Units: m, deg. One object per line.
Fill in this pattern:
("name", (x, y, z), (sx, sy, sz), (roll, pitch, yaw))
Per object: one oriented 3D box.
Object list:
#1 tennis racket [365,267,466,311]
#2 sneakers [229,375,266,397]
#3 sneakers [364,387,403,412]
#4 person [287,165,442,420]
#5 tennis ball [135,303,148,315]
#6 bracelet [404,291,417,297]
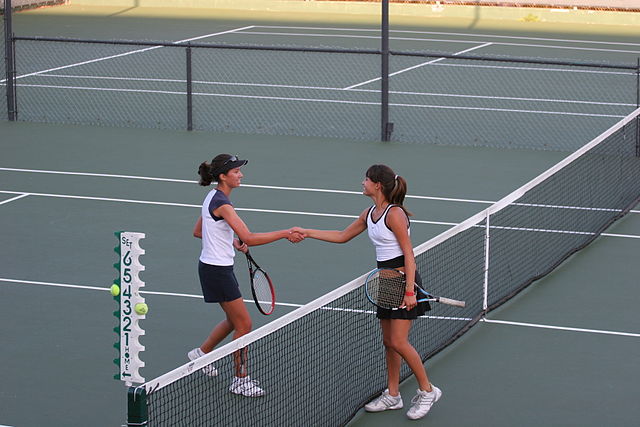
("tennis racket", (1.061, 0.967, 11.072), (0.980, 0.491, 0.288), (2, 20, 7))
("sneakers", (-0.930, 2.262, 11.442), (0.464, 0.246, 0.233), (4, 3, 0))
("sneakers", (0.839, 2.461, 11.456), (0.567, 0.315, 0.216), (2, -4, -3))
("person", (0.872, 0.983, 11.347), (0.878, 3.137, 1.552), (-13, 23, -30))
("tennis ball", (-2.017, 1.084, 9.966), (0.119, 0.134, 0.123), (-5, 9, 1))
("bracelet", (1.131, 1.002, 10.999), (0.149, 0.075, 0.067), (-10, 22, -23))
